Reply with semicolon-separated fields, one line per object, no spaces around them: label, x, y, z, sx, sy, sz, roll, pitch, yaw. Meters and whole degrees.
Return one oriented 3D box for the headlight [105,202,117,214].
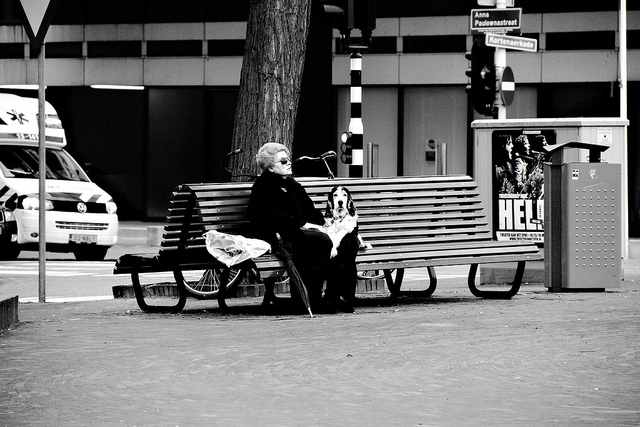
headlight;-4.040;-0.065;23.339;0.180;0.331;0.241;-1;-1;24

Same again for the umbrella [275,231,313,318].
umbrella;-0.330;0.704;14.242;0.285;1.169;0.215;-24;-2;-31

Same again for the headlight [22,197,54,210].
headlight;-5.211;-0.138;22.284;0.674;0.247;0.501;-1;-2;41

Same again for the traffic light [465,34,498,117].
traffic light;2.807;-2.385;21.052;0.504;1.366;0.514;1;-3;-1

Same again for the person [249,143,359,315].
person;-0.156;0.306;14.464;1.122;2.217;0.937;0;0;29

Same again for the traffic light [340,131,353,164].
traffic light;0.458;-1.095;20.507;0.117;0.533;0.365;-2;0;-26

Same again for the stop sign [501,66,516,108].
stop sign;3.285;-2.197;21.137;0.188;0.690;0.844;-2;0;12
